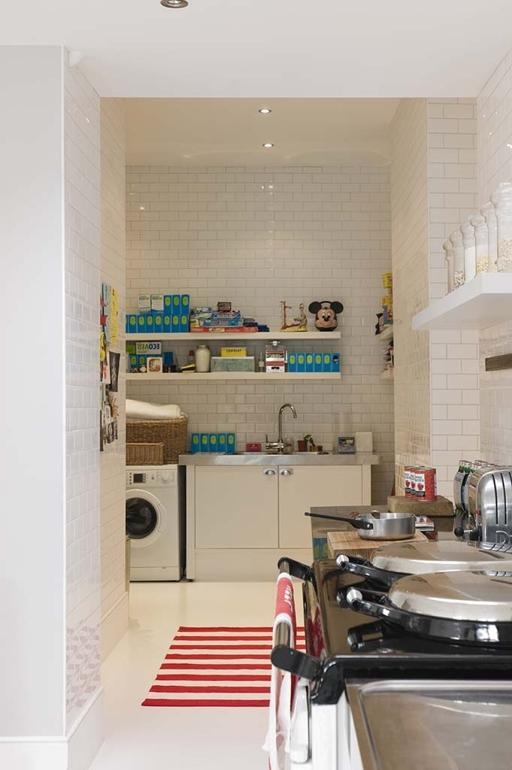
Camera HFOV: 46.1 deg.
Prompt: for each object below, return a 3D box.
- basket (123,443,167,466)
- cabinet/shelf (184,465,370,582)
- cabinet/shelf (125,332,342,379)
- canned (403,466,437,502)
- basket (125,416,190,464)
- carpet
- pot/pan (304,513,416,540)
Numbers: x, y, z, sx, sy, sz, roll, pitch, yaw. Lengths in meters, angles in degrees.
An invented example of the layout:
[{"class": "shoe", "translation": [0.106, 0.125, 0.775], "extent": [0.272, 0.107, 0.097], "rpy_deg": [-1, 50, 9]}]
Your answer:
[{"class": "basket", "translation": [-0.928, 0.577, 4.969], "extent": [0.182, 0.133, 0.247], "rpy_deg": [0, -2, 0]}, {"class": "cabinet/shelf", "translation": [0.257, 1.081, 5.325], "extent": [1.599, 1.079, 0.841], "rpy_deg": [-2, 0, 13]}, {"class": "cabinet/shelf", "translation": [-0.251, -0.245, 5.726], "extent": [2.086, 0.420, 0.324], "rpy_deg": [0, -7, 5]}, {"class": "canned", "translation": [0.751, 0.450, 2.804], "extent": [0.177, 0.163, 0.100], "rpy_deg": [-1, 0, 41]}, {"class": "basket", "translation": [-0.853, 0.463, 5.106], "extent": [0.387, 0.248, 0.398], "rpy_deg": [0, -2, 0]}, {"class": "carpet", "translation": [-0.206, 1.506, 3.304], "extent": [0.625, 0.027, 0.726], "rpy_deg": [0, 9, 8]}, {"class": "pot/pan", "translation": [0.322, 0.429, 1.848], "extent": [0.290, 0.096, 0.161], "rpy_deg": [-1, -3, -2]}]
